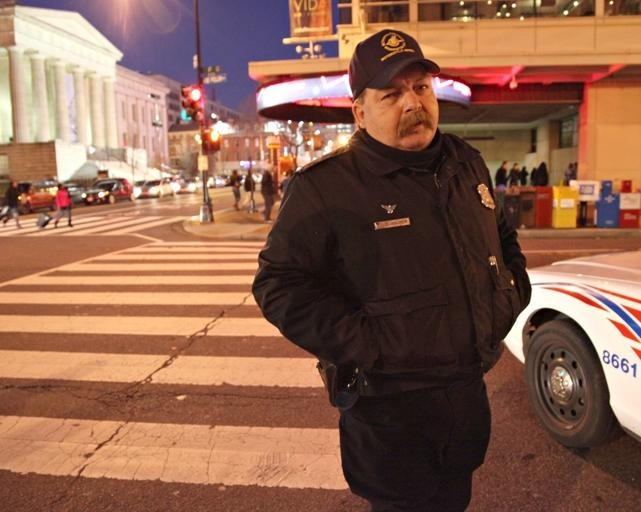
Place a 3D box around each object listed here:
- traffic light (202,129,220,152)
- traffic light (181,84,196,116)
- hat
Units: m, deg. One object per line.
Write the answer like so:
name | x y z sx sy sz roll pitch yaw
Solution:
traffic light | -3.762 -4.065 21.124 0.716 1.108 0.669 -4 7 -34
traffic light | -4.277 -5.029 19.321 0.465 1.001 0.624 3 11 24
hat | 0.348 -0.925 2.939 0.292 0.228 0.403 -28 14 -20
